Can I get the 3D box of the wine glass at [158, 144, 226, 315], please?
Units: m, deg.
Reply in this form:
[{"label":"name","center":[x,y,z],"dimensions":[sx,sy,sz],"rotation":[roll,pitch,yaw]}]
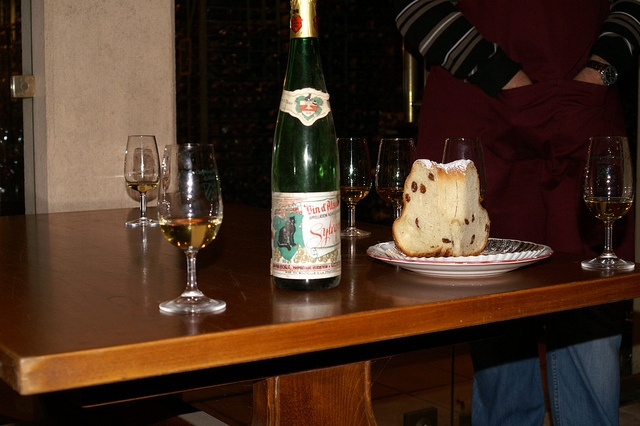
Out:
[{"label":"wine glass","center":[-0.202,0.014,0.885],"dimensions":[0.101,0.239,0.185],"rotation":[-3,10,-10]}]
